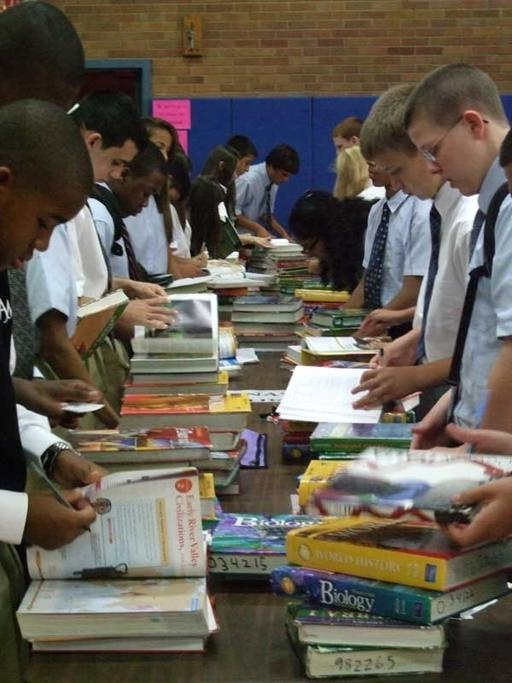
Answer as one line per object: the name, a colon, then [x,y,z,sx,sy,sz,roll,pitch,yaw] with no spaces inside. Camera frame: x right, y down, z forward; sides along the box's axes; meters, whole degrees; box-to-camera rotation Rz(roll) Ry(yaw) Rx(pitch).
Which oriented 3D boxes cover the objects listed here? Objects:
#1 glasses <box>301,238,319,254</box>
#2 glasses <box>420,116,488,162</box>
glasses: [0.266,-0.472,3.170,0.059,0.065,0.059,-14,49,-19]
glasses: [0.439,-0.440,1.416,0.101,0.026,0.094,-33,0,7]
